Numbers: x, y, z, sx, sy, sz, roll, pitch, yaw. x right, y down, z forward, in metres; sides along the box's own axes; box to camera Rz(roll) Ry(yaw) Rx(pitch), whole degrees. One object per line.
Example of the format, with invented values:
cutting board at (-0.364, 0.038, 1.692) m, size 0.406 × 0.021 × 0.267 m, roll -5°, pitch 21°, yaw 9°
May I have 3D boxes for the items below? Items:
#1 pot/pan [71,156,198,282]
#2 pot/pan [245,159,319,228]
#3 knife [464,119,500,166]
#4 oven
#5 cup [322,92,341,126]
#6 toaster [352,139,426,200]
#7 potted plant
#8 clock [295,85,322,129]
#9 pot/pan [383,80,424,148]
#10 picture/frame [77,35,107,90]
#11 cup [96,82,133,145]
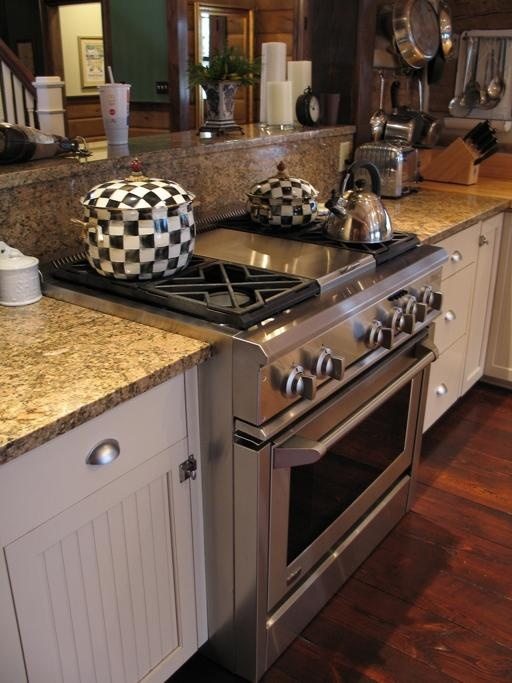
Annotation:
pot/pan at (-0.205, -0.246, 1.019) m, size 0.224 × 0.202 × 0.237 m, roll -2°, pitch 24°, yaw -6°
pot/pan at (0.071, -0.422, 1.564) m, size 0.199 × 0.148 × 0.191 m, roll 10°, pitch 25°, yaw 20°
knife at (1.046, -0.924, 2.493) m, size 0.046 × 0.187 × 0.155 m, roll -24°, pitch 75°, yaw -26°
oven at (0.124, 0.379, 1.183) m, size 0.330 × 0.522 × 0.616 m, roll 19°, pitch 36°, yaw 32°
cup at (0.287, -0.919, 2.140) m, size 0.072 × 0.114 × 0.061 m, roll -2°, pitch 22°, yaw -7°
toaster at (0.573, -0.736, 2.296) m, size 0.173 × 0.215 × 0.304 m, roll 12°, pitch 28°, yaw 28°
potted plant at (-0.105, -0.839, 1.814) m, size 0.237 × 0.261 × 0.185 m, roll -4°, pitch 22°, yaw -12°
clock at (0.205, -0.916, 2.114) m, size 0.066 × 0.140 × 0.135 m, roll 18°, pitch 27°, yaw 37°
pot/pan at (0.642, -0.978, 2.324) m, size 0.156 × 0.264 × 0.334 m, roll 7°, pitch 22°, yaw 14°
picture/frame at (-1.954, -3.293, 6.370) m, size 0.295 × 0.606 × 0.569 m, roll -6°, pitch 22°, yaw -15°
cup at (-0.398, -0.641, 1.526) m, size 0.079 × 0.163 × 0.246 m, roll -5°, pitch 22°, yaw -14°
